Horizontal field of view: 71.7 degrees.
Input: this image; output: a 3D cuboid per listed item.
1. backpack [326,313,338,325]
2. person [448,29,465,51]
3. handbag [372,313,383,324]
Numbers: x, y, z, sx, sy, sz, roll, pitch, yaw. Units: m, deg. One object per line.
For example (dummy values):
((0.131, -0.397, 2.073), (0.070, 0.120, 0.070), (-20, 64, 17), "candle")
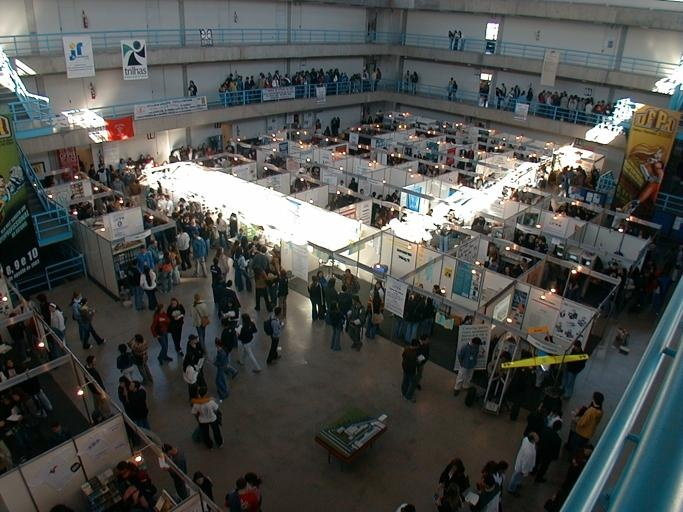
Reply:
((-0.192, 1.383, 10.394), (0.324, 0.288, 0.506), (7, -10, -4), "backpack")
((6.453, -12.255, 26.707), (0.828, 1.005, 0.956), (-14, 28, -31), "person")
((0.805, 1.399, 10.560), (0.218, 0.218, 0.108), (-23, 39, -30), "handbag")
